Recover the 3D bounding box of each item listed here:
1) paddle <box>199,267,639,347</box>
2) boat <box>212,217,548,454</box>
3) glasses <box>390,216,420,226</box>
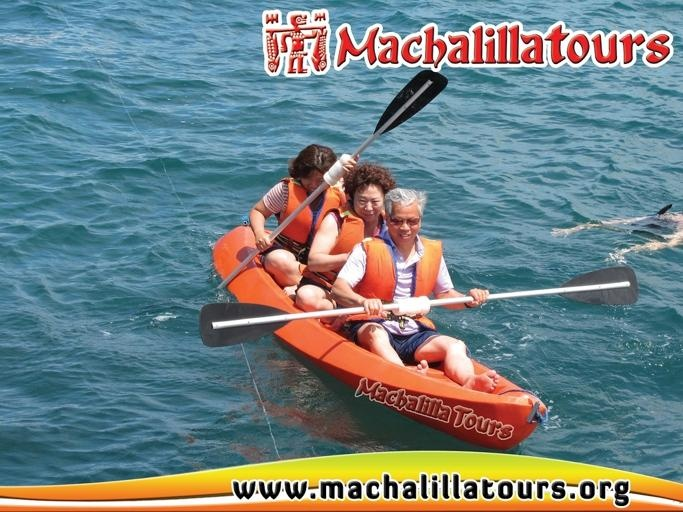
[{"bbox_3d":[0.383,0.412,7.450,4.675,0.101,0.571,-11,-5,40],"label":"paddle"},{"bbox_3d":[-0.098,0.924,8.544,3.906,0.567,1.246,22,21,29],"label":"boat"},{"bbox_3d":[0.536,-0.296,7.767,0.249,0.071,0.058,2,14,4],"label":"glasses"}]
